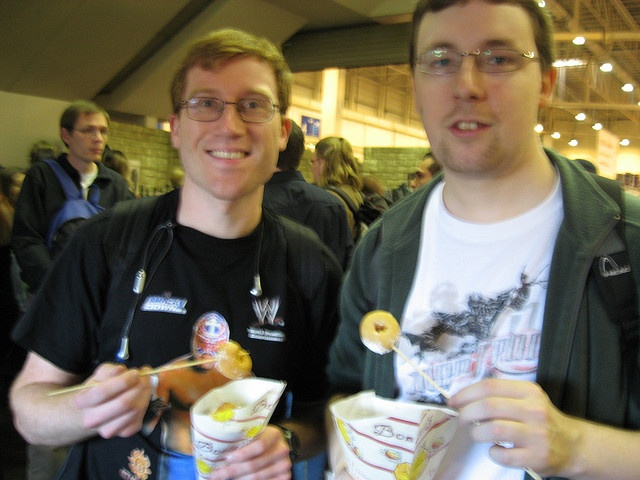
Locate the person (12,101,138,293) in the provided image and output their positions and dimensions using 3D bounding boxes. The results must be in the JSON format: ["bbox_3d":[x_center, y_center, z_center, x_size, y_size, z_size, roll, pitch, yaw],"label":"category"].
[{"bbox_3d":[-1.884,-0.279,4.104,0.911,1.644,1.059,1,-2,36],"label":"person"}]

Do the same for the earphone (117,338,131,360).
[{"bbox_3d":[-0.738,0.418,1.921,0.042,0.097,0.016,1,1,-8],"label":"earphone"}]

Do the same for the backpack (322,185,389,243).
[{"bbox_3d":[0.332,-0.365,4.847,0.617,0.430,0.616,-10,15,-24],"label":"backpack"}]
